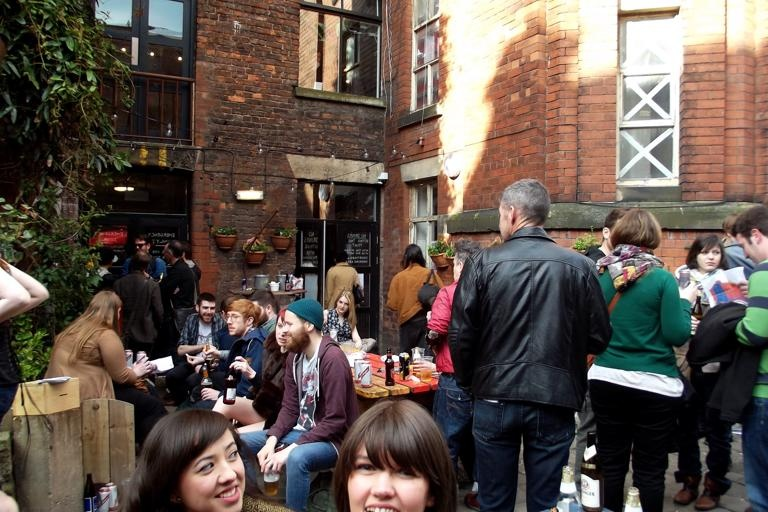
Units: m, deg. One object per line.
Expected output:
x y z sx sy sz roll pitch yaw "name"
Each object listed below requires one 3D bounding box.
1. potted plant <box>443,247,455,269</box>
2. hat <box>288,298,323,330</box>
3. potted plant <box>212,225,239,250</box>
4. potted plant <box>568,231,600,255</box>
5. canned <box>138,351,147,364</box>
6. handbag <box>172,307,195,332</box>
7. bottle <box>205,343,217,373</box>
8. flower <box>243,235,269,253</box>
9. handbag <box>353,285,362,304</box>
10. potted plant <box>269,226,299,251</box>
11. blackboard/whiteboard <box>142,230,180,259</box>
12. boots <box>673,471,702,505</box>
1.032 0.034 10.408 0.225 0.239 0.220 -1 -1 17 "potted plant"
-0.713 0.499 6.200 0.298 0.244 0.264 21 6 -19 "hat"
-2.646 -0.297 11.140 0.384 0.386 0.368 1 3 -9 "potted plant"
2.614 -0.170 8.593 0.441 0.348 0.497 -1 -2 -9 "potted plant"
-2.707 1.143 7.481 0.105 0.174 0.104 3 5 -14 "canned"
-3.005 0.937 9.914 0.361 0.381 0.122 -1 -3 1 "handbag"
-2.142 1.277 8.169 0.107 0.290 0.208 1 15 -19 "bottle"
-2.170 -0.184 11.415 0.289 0.200 0.312 2 -1 1 "flower"
-0.455 0.676 11.546 0.087 0.245 0.248 -2 6 -24 "handbag"
-1.720 -0.291 11.550 0.394 0.400 0.393 4 4 5 "potted plant"
-3.629 -0.165 10.812 0.468 0.451 0.062 3 -3 -30 "blackboard/whiteboard"
3.002 2.327 6.608 0.399 0.393 0.171 10 -11 -36 "boots"
